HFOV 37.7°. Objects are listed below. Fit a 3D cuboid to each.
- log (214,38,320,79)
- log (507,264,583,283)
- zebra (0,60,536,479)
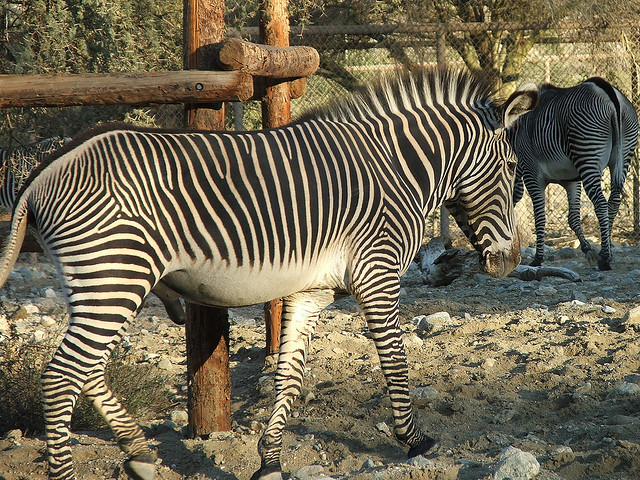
[{"bbox_3d":[-0.425,-1.490,7.888,0.251,0.288,1.286,26,15,19],"label":"log"},{"bbox_3d":[2.621,0.405,10.975,0.979,0.231,0.288,-1,-5,3],"label":"log"},{"bbox_3d":[-0.301,0.278,7.503,3.903,3.179,1.201,-7,11,-24],"label":"zebra"}]
